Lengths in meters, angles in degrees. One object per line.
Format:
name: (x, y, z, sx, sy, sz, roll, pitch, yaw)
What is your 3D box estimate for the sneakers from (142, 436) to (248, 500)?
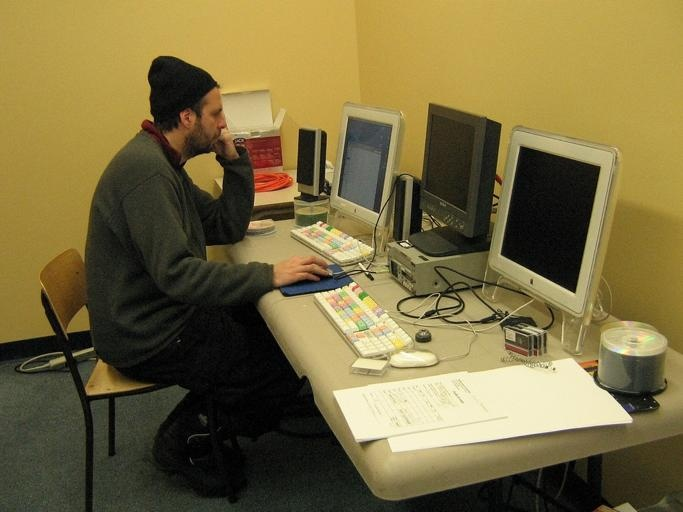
sneakers: (-0.572, 0.832, 2.212, 0.333, 0.137, 0.263, 29, 17, -11)

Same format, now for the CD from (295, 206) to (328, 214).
CD: (-0.144, -0.211, 2.534, 0.071, 0.017, 0.072, 12, 17, 42)

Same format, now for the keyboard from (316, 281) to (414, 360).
keyboard: (0.075, 0.133, 1.692, 0.143, 0.056, 0.410, -12, 32, -18)

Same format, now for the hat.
hat: (-0.597, -0.654, 2.109, 0.233, 0.217, 0.202, -15, 31, -24)

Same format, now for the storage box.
storage box: (-0.506, -0.772, 3.335, 0.452, 0.505, 0.411, -6, 19, -15)

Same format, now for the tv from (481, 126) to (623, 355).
tv: (0.638, -0.044, 1.679, 0.104, 0.649, 0.495, -3, 27, -29)

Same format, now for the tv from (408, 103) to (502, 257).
tv: (0.421, -0.260, 1.996, 0.274, 0.525, 0.448, -12, 28, -17)

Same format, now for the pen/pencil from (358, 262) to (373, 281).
pen/pencil: (0.099, 0.054, 2.101, 0.022, 0.012, 0.112, -10, 30, -13)

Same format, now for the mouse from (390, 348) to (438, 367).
mouse: (0.206, 0.292, 1.582, 0.084, 0.023, 0.061, 0, 20, 2)
